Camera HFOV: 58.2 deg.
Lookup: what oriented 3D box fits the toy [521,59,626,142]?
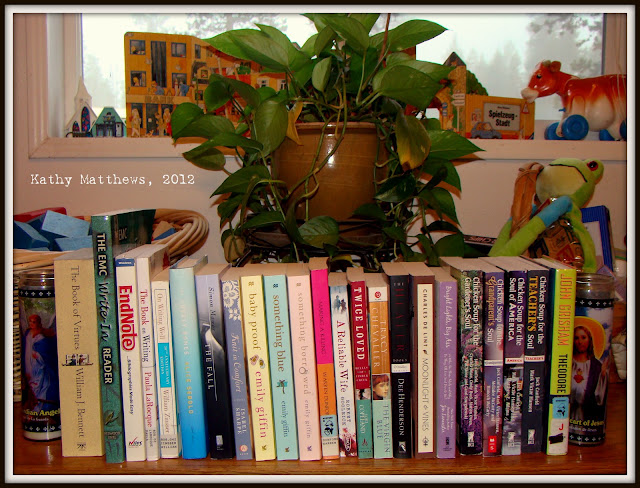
[{"bbox_3d":[0.802,-0.451,1.819,0.291,0.248,0.180,0,1,26],"label":"toy"}]

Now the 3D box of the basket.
[{"bbox_3d":[-0.495,0.161,1.537,0.431,0.193,0.540,2,16,15],"label":"basket"}]

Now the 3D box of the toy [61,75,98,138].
[{"bbox_3d":[-0.774,-0.444,1.863,0.092,0.204,0.084,-1,2,-20],"label":"toy"}]

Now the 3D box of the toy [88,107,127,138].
[{"bbox_3d":[-0.681,-0.385,1.839,0.121,0.103,0.042,0,-7,-5],"label":"toy"}]

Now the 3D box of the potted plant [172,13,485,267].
[{"bbox_3d":[-0.001,-0.302,1.456,0.671,0.669,0.675,-1,2,-3],"label":"potted plant"}]

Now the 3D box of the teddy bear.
[{"bbox_3d":[0.582,-0.078,1.678,0.327,0.321,0.290,0,3,-9],"label":"teddy bear"}]
